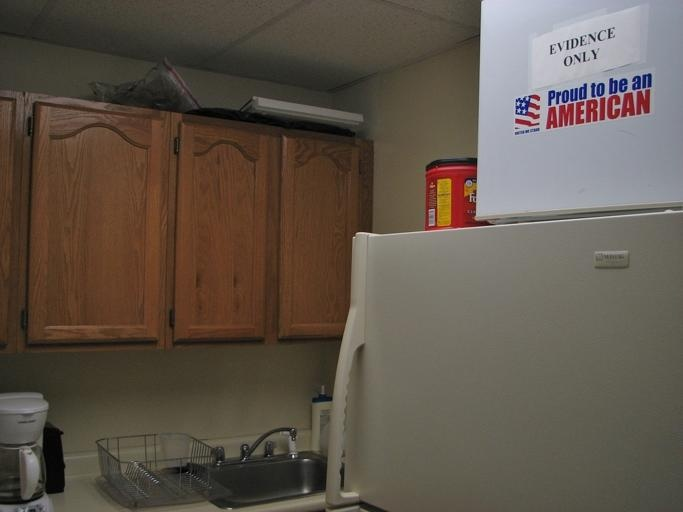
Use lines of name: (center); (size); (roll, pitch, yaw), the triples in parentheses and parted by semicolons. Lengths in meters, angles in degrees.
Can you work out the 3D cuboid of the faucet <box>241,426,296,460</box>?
faucet: (-0.325, 0.833, 2.817); (0.276, 0.119, 0.057); (-10, -13, 15)
